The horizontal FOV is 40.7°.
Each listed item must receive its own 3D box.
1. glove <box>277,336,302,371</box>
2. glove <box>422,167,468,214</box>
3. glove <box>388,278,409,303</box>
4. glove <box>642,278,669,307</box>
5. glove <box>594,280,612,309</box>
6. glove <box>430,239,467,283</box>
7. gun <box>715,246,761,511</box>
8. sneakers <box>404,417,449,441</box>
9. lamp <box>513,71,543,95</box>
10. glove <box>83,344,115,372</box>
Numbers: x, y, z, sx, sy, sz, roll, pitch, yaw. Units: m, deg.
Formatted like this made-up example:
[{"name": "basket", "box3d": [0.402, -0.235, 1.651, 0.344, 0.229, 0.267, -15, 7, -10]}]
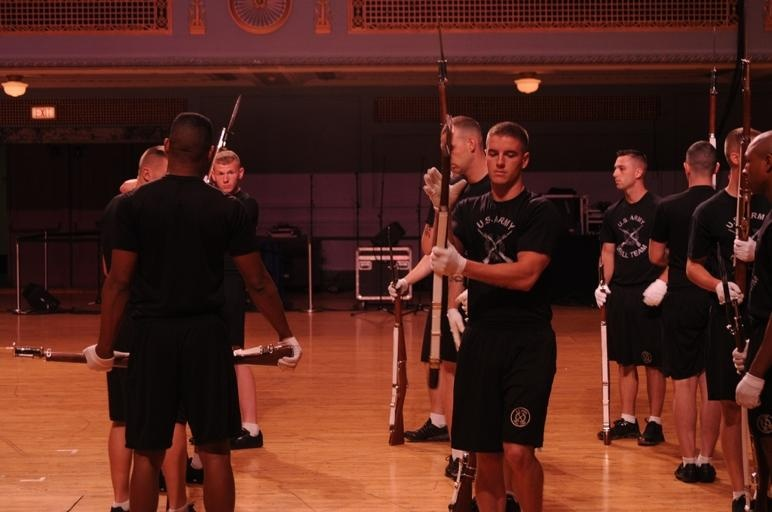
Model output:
[{"name": "glove", "box3d": [-0.760, 0.780, 8.222, 0.189, 0.094, 0.250, -2, -31, -7]}, {"name": "glove", "box3d": [0.413, -0.528, 8.270, 0.369, 0.353, 0.102, -27, 29, -2]}, {"name": "glove", "box3d": [0.122, 0.362, 11.169, 0.169, 0.433, 0.129, -2, 34, -16]}, {"name": "glove", "box3d": [2.538, 0.358, 9.800, 0.191, 0.240, 0.070, 16, 9, 34]}, {"name": "glove", "box3d": [2.110, 0.378, 10.138, 0.168, 0.247, 0.080, 7, -5, 15]}, {"name": "glove", "box3d": [0.478, 0.025, 7.919, 0.275, 0.243, 0.152, 2, -3, -37]}, {"name": "gun", "box3d": [2.820, 0.908, 8.296, 0.150, 2.225, 0.453, -4, 4, 1]}, {"name": "sneakers", "box3d": [0.403, 1.712, 10.121, 0.466, 0.203, 0.171, 2, -5, -6]}, {"name": "lamp", "box3d": [2.100, -2.592, 15.424, 0.321, 0.292, 0.580, 0, -3, 13]}, {"name": "glove", "box3d": [-2.222, 0.793, 8.017, 0.155, 0.154, 0.241, -1, 3, -7]}]
